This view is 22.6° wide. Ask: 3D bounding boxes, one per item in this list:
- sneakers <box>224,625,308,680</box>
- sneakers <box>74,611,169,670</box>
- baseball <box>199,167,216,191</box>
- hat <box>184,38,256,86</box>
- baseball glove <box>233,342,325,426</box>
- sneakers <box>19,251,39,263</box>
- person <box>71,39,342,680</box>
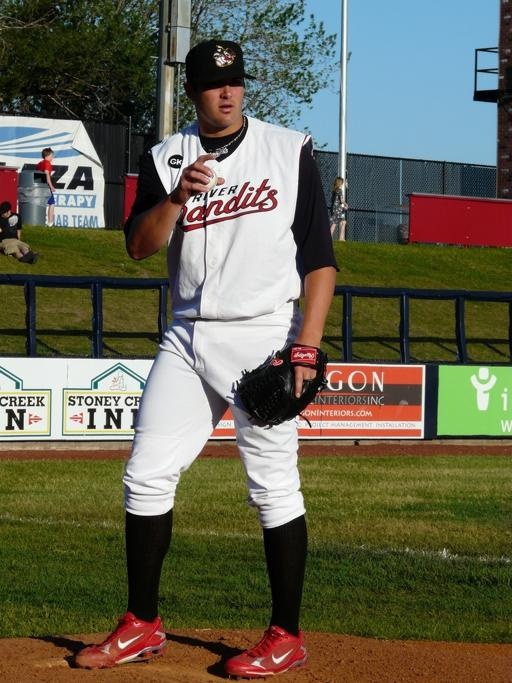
[{"bbox_3d":[0.065,1.294,5.476,0.400,0.187,0.145,-6,13,-37],"label":"sneakers"},{"bbox_3d":[-0.556,1.263,5.503,0.408,0.215,0.162,-8,10,-34],"label":"sneakers"},{"bbox_3d":[-0.185,-0.659,5.226,0.044,0.089,0.096,1,4,20],"label":"baseball"},{"bbox_3d":[-0.158,-1.177,5.428,0.284,0.230,0.259,0,3,-3],"label":"hat"},{"bbox_3d":[0.115,0.160,5.372,0.393,0.278,0.165,-40,-25,-15],"label":"baseball glove"},{"bbox_3d":[-3.111,-1.154,17.520,0.233,0.155,0.178,-1,4,-10],"label":"sneakers"},{"bbox_3d":[-0.149,0.058,5.434,0.971,2.688,0.445,0,3,4],"label":"person"}]
